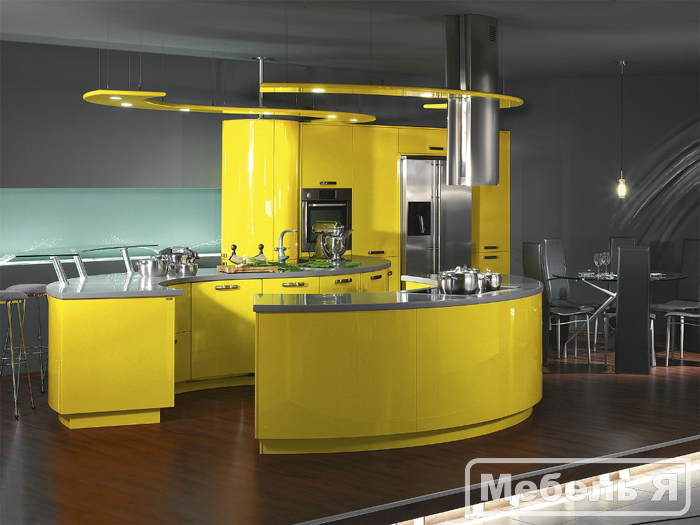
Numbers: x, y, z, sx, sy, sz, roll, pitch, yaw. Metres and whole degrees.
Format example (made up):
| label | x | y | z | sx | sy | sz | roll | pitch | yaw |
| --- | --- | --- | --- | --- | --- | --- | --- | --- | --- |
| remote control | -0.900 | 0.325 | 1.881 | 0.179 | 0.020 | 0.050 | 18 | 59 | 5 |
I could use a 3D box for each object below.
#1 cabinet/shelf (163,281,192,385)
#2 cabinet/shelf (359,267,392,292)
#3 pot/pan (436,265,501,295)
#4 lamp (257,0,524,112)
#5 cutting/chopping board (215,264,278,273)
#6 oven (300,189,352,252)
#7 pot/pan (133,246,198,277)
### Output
| label | x | y | z | sx | sy | sz | roll | pitch | yaw |
| --- | --- | --- | --- | --- | --- | --- | --- | --- | --- |
| cabinet/shelf | -1.514 | 0.654 | 5.610 | 0.167 | 0.960 | 0.149 | -1 | 6 | -11 |
| cabinet/shelf | 0.281 | 0.189 | 6.657 | 0.288 | 0.241 | 0.491 | -1 | 2 | 4 |
| pot/pan | 0.961 | 0.138 | 4.924 | 0.288 | 0.186 | 0.536 | 6 | 8 | 44 |
| lamp | 0.394 | -2.313 | 6.772 | 1.595 | 0.845 | 2.570 | 0 | 1 | -13 |
| cutting/chopping board | -0.974 | 0.056 | 6.027 | 0.641 | 0.063 | 0.325 | -2 | 6 | -23 |
| oven | -0.135 | -0.548 | 7.957 | 0.849 | 0.808 | 0.710 | 1 | 3 | 16 |
| pot/pan | -1.685 | -0.006 | 5.747 | 0.505 | 0.238 | 0.467 | -1 | 6 | -11 |
